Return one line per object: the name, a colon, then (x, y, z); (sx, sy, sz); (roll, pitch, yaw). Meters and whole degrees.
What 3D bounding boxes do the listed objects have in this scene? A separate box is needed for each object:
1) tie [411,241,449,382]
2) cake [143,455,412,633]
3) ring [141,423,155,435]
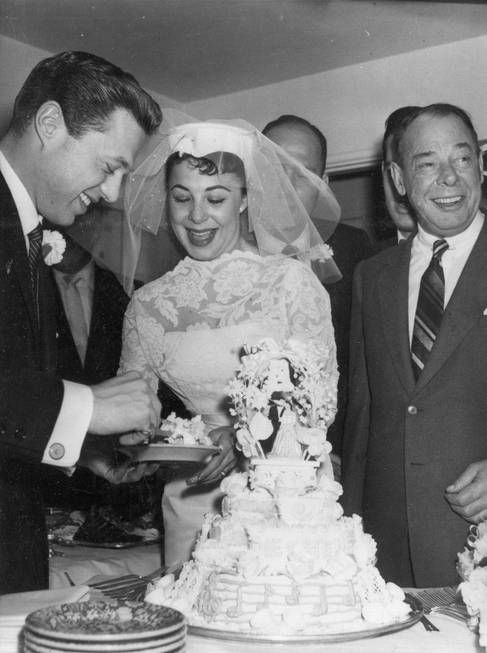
tie: (0.532, -0.053, 2.092); (0.080, 0.464, 0.039); (-3, -28, 43)
cake: (0.065, 0.371, 1.231); (0.301, 0.159, 0.294); (3, -15, -9)
ring: (-0.198, 0.220, 1.601); (0.024, 0.028, 0.031); (-2, -26, 5)
